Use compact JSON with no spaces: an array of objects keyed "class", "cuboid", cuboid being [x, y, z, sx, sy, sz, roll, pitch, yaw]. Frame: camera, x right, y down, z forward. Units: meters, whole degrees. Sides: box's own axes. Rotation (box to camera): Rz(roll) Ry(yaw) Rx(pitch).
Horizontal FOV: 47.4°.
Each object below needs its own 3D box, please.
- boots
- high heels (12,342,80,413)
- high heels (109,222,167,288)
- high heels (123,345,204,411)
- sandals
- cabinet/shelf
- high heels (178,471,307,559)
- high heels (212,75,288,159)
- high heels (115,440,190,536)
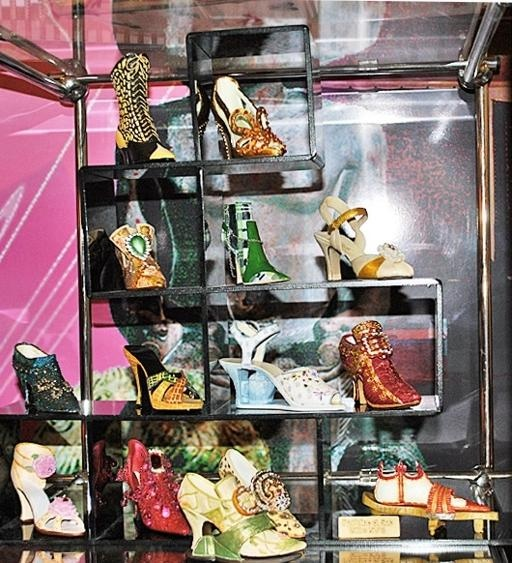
[{"class":"boots","cuboid":[-0.363,-0.544,1.852,0.127,0.354,0.241,-7,9,-29]},{"class":"high heels","cuboid":[-0.662,0.311,1.829,0.226,0.185,0.117,5,11,43]},{"class":"high heels","cuboid":[-0.384,-0.083,1.884,0.155,0.200,0.200,-4,8,-13]},{"class":"high heels","cuboid":[-0.285,0.312,1.849,0.290,0.153,0.139,7,1,19]},{"class":"sandals","cuboid":[0.501,0.640,1.704,0.236,0.026,0.123,1,0,8]},{"class":"cabinet/shelf","cuboid":[0.081,0.031,1.967,2.034,1.519,0.616,-1,-7,1]},{"class":"high heels","cuboid":[-0.048,0.665,1.680,0.369,0.165,0.180,0,-8,13]},{"class":"high heels","cuboid":[-0.038,-0.512,1.840,0.153,0.339,0.105,-23,-25,-20]},{"class":"high heels","cuboid":[-0.285,0.620,1.759,0.220,0.261,0.116,1,9,25]}]
